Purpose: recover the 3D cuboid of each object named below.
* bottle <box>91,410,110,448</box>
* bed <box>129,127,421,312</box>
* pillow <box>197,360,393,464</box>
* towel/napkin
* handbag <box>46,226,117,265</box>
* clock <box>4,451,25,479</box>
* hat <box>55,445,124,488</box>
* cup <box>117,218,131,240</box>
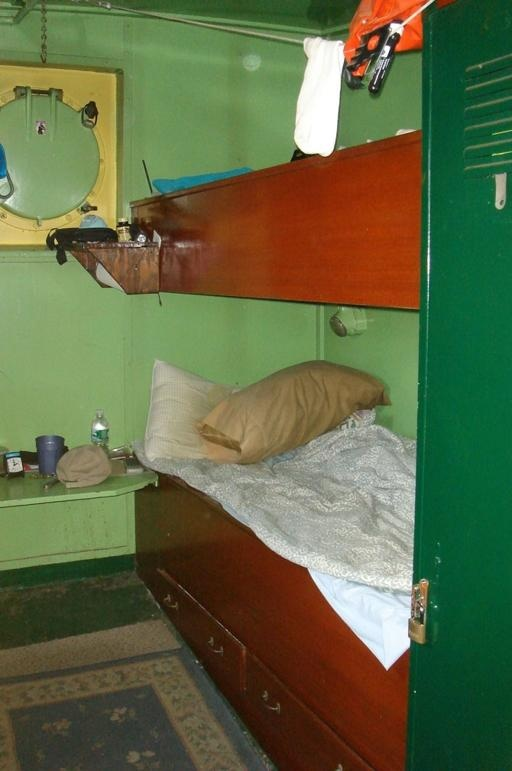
[{"bbox_3d":[-0.775,0.223,3.155,0.086,0.189,0.085,1,7,0],"label":"bottle"},{"bbox_3d":[0.013,-0.451,1.843,0.091,0.436,1.638,-2,8,-22],"label":"bed"},{"bbox_3d":[0.141,0.080,2.669,0.651,0.215,0.395,-25,26,-19],"label":"pillow"},{"bbox_3d":[0.155,-0.633,1.423,0.062,0.229,0.146,-3,15,-44],"label":"towel/napkin"},{"bbox_3d":[-0.779,-0.637,2.791,0.219,0.080,0.196,-3,1,-10],"label":"handbag"},{"bbox_3d":[-1.067,0.357,2.790,0.071,0.124,0.067,-5,-32,-30],"label":"clock"},{"bbox_3d":[-0.734,0.348,2.700,0.193,0.070,0.174,-22,50,-34],"label":"hat"},{"bbox_3d":[-0.582,-0.685,2.810,0.063,0.112,0.159,-1,7,-11],"label":"cup"}]
